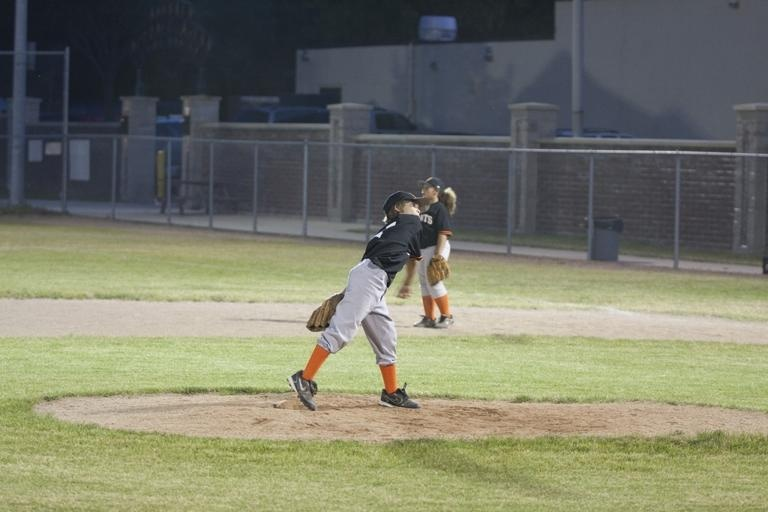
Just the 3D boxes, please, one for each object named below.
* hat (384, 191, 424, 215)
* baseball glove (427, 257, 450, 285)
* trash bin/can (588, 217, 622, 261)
[{"bbox_3d":[0.282,-1.159,40.286,0.680,0.354,0.508,-30,1,-2],"label":"hat"},{"bbox_3d":[1.200,0.359,43.862,0.488,0.680,0.451,2,2,3],"label":"baseball glove"},{"bbox_3d":[6.118,-0.409,53.475,0.860,1.197,0.748,4,-9,-14],"label":"trash bin/can"}]
